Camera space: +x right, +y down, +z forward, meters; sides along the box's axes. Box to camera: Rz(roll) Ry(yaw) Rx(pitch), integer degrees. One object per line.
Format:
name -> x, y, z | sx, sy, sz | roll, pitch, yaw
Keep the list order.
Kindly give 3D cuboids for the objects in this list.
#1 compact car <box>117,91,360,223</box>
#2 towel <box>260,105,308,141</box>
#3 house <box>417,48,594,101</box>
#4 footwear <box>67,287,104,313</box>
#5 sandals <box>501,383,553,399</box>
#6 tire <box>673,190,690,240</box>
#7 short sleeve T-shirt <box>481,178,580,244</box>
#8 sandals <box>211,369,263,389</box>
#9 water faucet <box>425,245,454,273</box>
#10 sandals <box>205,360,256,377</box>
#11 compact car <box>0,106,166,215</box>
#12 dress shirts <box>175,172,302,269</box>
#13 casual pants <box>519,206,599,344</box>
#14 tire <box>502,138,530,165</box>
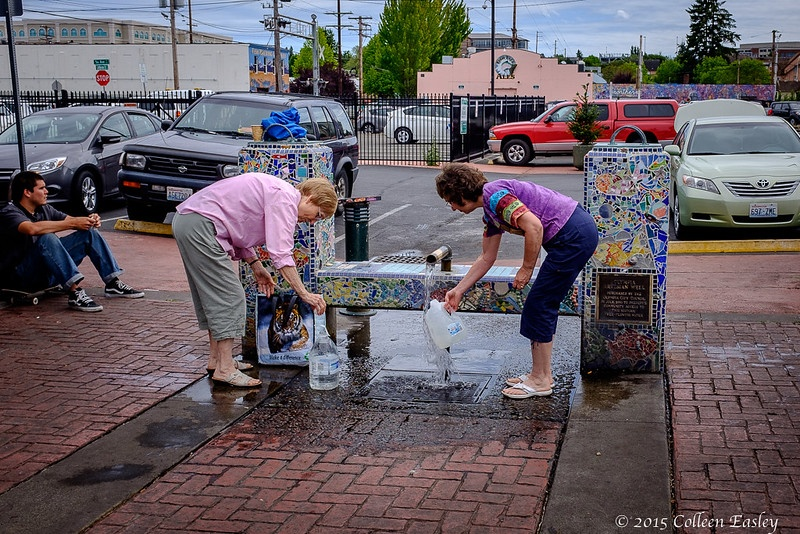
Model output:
compact car -> -2.722, -2.098, 13.478 | 2.668, 1.827, 4.702 | 7, 11, 25
towel -> -1.093, -1.395, 6.587 | 0.538, 0.261, 0.594 | 8, 17, 7
house -> 9.254, -16.493, 58.370 | 14.118, 4.322, 2.478 | 4, 32, 13
footwear -> -3.565, 0.371, 7.674 | 0.389, 0.265, 0.210 | -4, 15, -6
sandals -> 1.032, 1.019, 5.525 | 0.288, 0.076, 0.151 | 2, 3, -3
tire -> 4.733, -0.955, 11.301 | 0.248, 0.938, 0.922 | 3, 54, 21
short sleeve T-shirt -> 1.019, -0.469, 5.240 | 0.678, 0.375, 0.494 | 13, 20, 6
sandals -> -1.405, 0.982, 5.878 | 0.404, 0.117, 0.161 | 2, 7, 2
water faucet -> 0.351, -0.070, 5.916 | 0.228, 0.114, 0.360 | 13, 11, 23
sandals -> -1.520, 0.879, 6.118 | 0.408, 0.099, 0.154 | -7, 14, -37
compact car -> -6.424, -2.370, 14.411 | 2.285, 1.604, 3.764 | 2, 6, 16
dress shirts -> -1.295, -0.431, 5.524 | 0.918, 0.632, 0.916 | 3, 8, -20
casual pants -> 1.310, 0.095, 5.528 | 0.471, 1.135, 0.554 | 15, 3, -2
tire -> 4.034, -4.000, 23.284 | 0.672, 0.665, 0.259 | -41, 4, 16
